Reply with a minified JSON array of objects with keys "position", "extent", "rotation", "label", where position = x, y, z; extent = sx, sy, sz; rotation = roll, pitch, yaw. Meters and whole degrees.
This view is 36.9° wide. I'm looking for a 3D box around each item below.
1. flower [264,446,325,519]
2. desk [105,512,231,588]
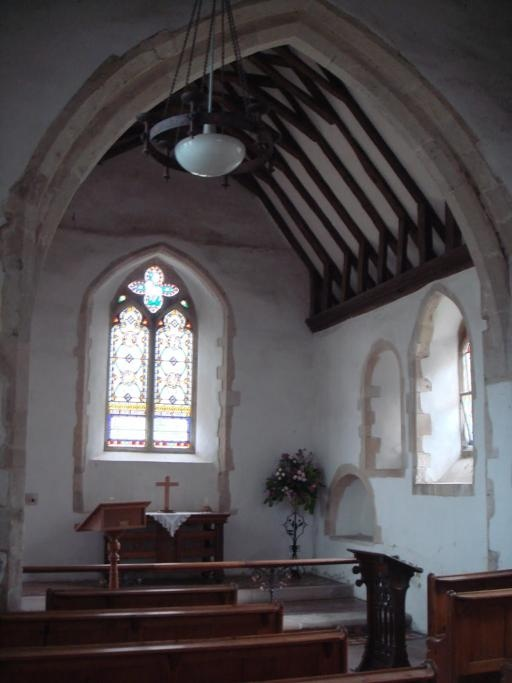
[{"position":[0.476,1.825,9.922],"extent":[0.992,0.928,0.822],"rotation":[1,-17,-1],"label":"flower"},{"position":[-0.961,2.353,8.672],"extent":[1.372,0.695,0.467],"rotation":[-3,-24,9],"label":"desk"}]
